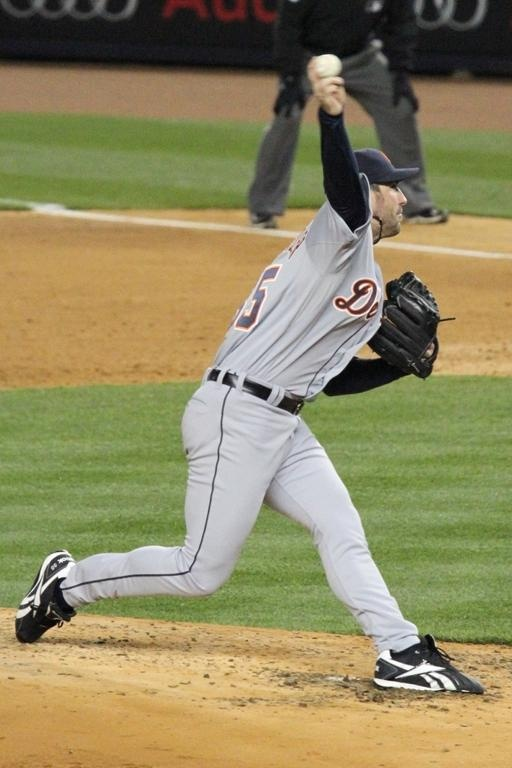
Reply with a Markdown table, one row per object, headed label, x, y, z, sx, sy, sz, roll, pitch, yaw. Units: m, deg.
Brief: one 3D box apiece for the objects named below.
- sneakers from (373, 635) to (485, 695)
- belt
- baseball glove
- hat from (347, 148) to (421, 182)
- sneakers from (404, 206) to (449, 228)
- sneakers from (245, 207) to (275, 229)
| label | x | y | z | sx | sy | sz | roll | pitch | yaw |
| --- | --- | --- | --- | --- | --- | --- | --- | --- | --- |
| sneakers | 0.412 | 0.721 | 3.056 | 0.335 | 0.145 | 0.107 | 5 | -22 | 2 |
| belt | -0.006 | 0.016 | 3.055 | 0.168 | 0.041 | 0.149 | 17 | -2 | 15 |
| baseball glove | 0.396 | -0.149 | 3.297 | 0.266 | 0.278 | 0.109 | -6 | -4 | -44 |
| hat | 0.328 | -0.552 | 3.089 | 0.174 | 0.056 | 0.102 | 3 | 20 | -2 |
| sneakers | 1.279 | -1.240 | 8.890 | 0.374 | 0.146 | 0.124 | 0 | 17 | 3 |
| sneakers | 0.031 | -1.090 | 7.924 | 0.215 | 0.137 | 0.062 | -10 | 59 | -17 |
